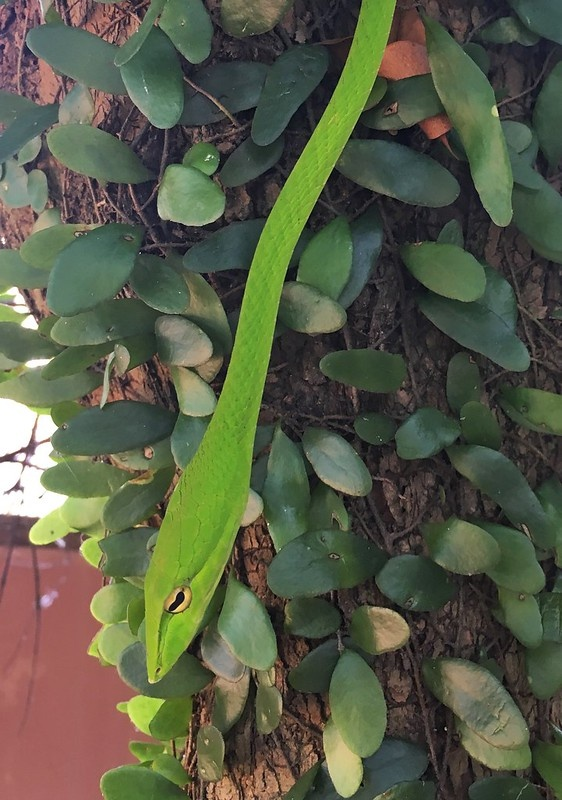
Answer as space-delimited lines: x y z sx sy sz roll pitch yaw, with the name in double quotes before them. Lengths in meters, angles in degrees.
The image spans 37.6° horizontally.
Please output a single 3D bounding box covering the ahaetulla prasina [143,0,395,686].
"ahaetulla prasina" -0.004 -0.059 0.632 0.085 0.607 0.045 25 10 34
